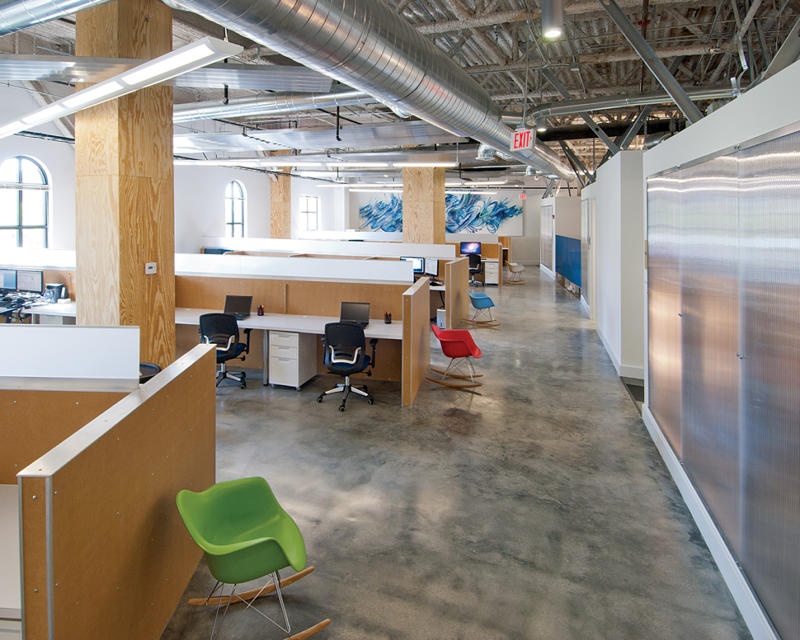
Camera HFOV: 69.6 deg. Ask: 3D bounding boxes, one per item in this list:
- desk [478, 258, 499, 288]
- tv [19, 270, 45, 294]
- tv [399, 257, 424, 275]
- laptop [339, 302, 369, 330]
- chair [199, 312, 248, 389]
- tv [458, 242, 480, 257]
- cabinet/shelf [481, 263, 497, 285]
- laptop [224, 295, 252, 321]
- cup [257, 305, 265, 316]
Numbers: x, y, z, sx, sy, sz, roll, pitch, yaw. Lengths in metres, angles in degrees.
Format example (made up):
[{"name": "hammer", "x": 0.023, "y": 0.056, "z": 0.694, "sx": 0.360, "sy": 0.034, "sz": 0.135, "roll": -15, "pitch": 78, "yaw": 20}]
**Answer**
[{"name": "desk", "x": 2.917, "y": -1.577, "z": 18.848, "sx": 0.523, "sy": 0.925, "sz": 0.896, "roll": 0, "pitch": 3, "yaw": 14}, {"name": "tv", "x": -5.200, "y": -0.548, "z": 8.136, "sx": 0.294, "sy": 0.251, "sz": 0.095, "roll": 5, "pitch": 10, "yaw": 14}, {"name": "tv", "x": 0.228, "y": -1.170, "z": 12.589, "sx": 0.508, "sy": 0.388, "sz": 0.382, "roll": 0, "pitch": 7, "yaw": 16}, {"name": "laptop", "x": -0.613, "y": -0.082, "z": 7.578, "sx": 0.381, "sy": 0.276, "sz": 0.312, "roll": 2, "pitch": 4, "yaw": 6}, {"name": "chair", "x": -2.227, "y": 0.397, "z": 7.368, "sx": 0.585, "sy": 1.010, "sz": 1.270, "roll": -4, "pitch": 7, "yaw": -17}, {"name": "tv", "x": 2.184, "y": -2.296, "z": 18.669, "sx": 0.631, "sy": 0.365, "sz": 0.477, "roll": 0, "pitch": 7, "yaw": 12}, {"name": "cabinet/shelf", "x": 2.903, "y": -1.530, "z": 18.859, "sx": 0.426, "sy": 0.757, "sz": 0.732, "roll": 0, "pitch": 4, "yaw": 15}, {"name": "laptop", "x": -2.203, "y": -0.156, "z": 7.839, "sx": 0.355, "sy": 0.306, "sz": 0.248, "roll": 2, "pitch": 5, "yaw": 4}, {"name": "cup", "x": -1.974, "y": -0.141, "z": 8.155, "sx": 0.157, "sy": 0.175, "sz": 0.105, "roll": 0, "pitch": 0, "yaw": -39}]
